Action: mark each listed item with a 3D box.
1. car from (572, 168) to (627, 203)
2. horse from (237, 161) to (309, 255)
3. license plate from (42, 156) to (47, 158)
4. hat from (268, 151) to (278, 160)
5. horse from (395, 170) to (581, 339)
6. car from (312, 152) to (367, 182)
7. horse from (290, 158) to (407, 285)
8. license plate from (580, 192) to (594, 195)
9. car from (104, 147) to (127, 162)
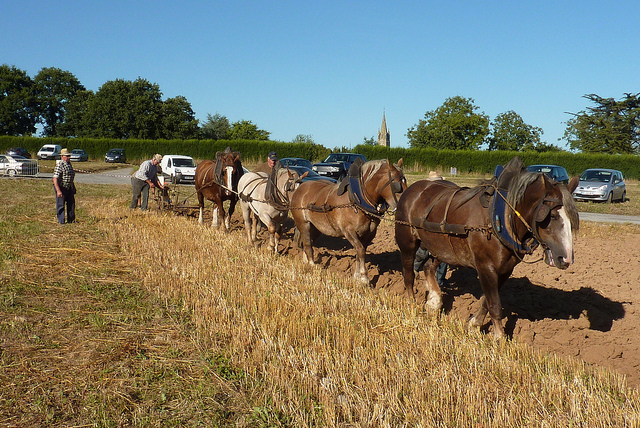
[{"bbox_3d":[14.714,-1.424,25.443,3.054,1.619,1.713,-7,13,-41],"label":"car"},{"bbox_3d":[-1.464,-0.184,12.944,0.962,2.554,3.409,-3,11,-30],"label":"horse"},{"bbox_3d":[-29.901,-6.114,52.311,0.690,0.177,0.115,8,11,28],"label":"license plate"},{"bbox_3d":[-1.275,-1.539,12.917,0.184,0.201,0.494,1,10,-4],"label":"hat"},{"bbox_3d":[2.504,0.598,8.136,1.056,2.910,3.621,-3,5,-29],"label":"horse"},{"bbox_3d":[1.191,-2.871,28.833,3.222,1.676,1.995,4,6,-44],"label":"car"},{"bbox_3d":[0.538,0.034,10.168,0.786,2.495,2.947,-5,12,-35],"label":"horse"},{"bbox_3d":[13.745,-1.042,24.781,0.082,0.185,0.617,-7,14,-42],"label":"license plate"},{"bbox_3d":[-22.730,-6.577,53.874,1.403,1.225,2.196,1,3,-1],"label":"car"}]
